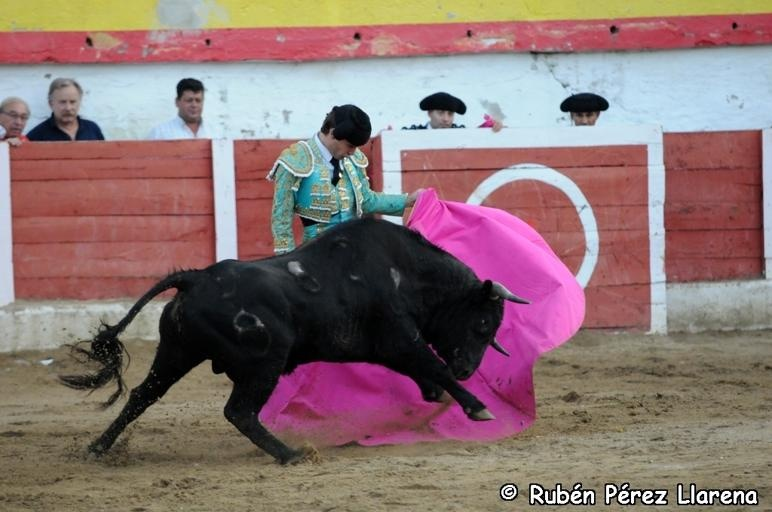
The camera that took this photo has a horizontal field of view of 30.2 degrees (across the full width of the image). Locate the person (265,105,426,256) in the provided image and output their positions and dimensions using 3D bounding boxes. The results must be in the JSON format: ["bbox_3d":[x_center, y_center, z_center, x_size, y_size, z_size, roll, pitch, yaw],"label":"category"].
[{"bbox_3d":[-0.280,-0.480,9.652,1.060,1.351,0.599,-11,17,-34],"label":"person"}]

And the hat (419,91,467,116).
[{"bbox_3d":[0.437,-1.205,11.190,0.336,0.160,0.274,-2,5,-2],"label":"hat"}]

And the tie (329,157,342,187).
[{"bbox_3d":[-0.325,-0.547,9.147,0.113,0.138,0.047,-3,5,-31],"label":"tie"}]

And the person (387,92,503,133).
[{"bbox_3d":[0.443,-1.094,11.223,0.994,0.315,0.302,1,5,30],"label":"person"}]

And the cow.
[{"bbox_3d":[-0.460,0.540,8.895,3.176,1.380,0.658,-3,7,-33],"label":"cow"}]
